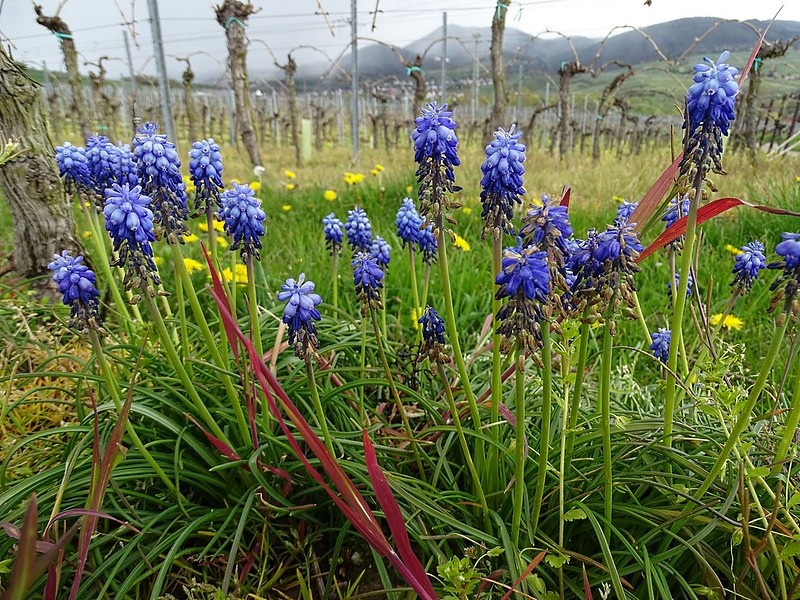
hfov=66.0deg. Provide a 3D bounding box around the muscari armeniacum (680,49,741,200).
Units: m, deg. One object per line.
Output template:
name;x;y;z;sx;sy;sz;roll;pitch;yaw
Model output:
muscari armeniacum;1.474;-0.810;2.958;0.217;0.599;0.235;7;22;21
